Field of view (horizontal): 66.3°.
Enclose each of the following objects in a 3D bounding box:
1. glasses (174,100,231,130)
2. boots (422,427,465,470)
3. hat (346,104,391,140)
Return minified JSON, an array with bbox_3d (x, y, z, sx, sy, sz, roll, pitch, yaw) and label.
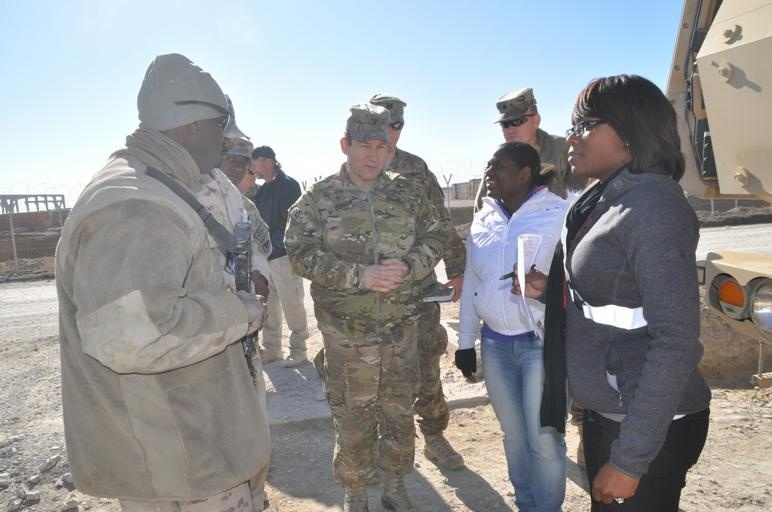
[{"bbox_3d":[-0.938,-0.732,3.045,0.219,0.111,0.178,-15,17,-10],"label":"glasses"},{"bbox_3d":[0.451,1.474,4.619,0.154,0.264,0.405,-5,6,-34],"label":"boots"},{"bbox_3d":[-0.117,-0.895,3.959,0.297,0.262,0.177,-5,2,-9],"label":"hat"}]
